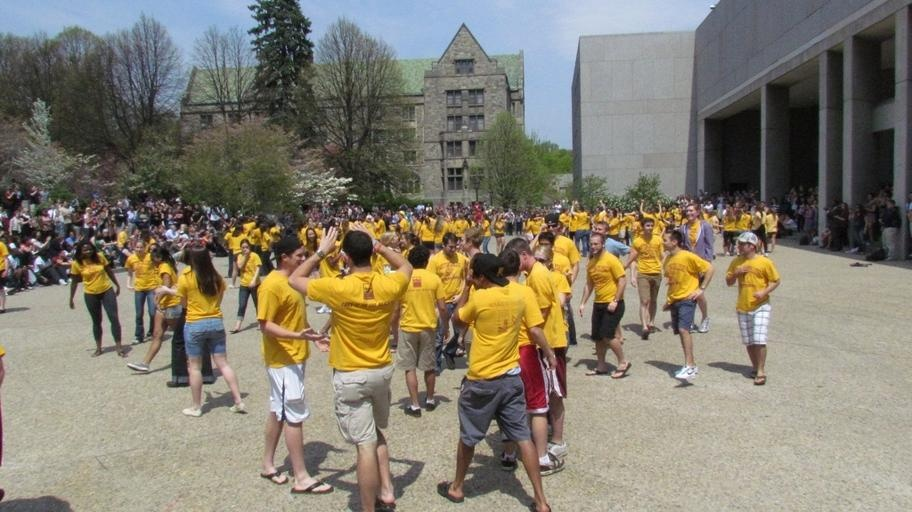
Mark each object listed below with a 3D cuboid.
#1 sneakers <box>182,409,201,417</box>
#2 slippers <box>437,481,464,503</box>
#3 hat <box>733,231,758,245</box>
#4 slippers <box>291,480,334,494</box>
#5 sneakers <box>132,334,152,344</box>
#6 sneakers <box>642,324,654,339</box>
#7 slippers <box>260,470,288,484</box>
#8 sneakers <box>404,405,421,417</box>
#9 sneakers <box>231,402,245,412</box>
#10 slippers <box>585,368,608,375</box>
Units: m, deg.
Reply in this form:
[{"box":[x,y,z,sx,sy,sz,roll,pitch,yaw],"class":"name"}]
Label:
[{"box":[-6.524,3.832,17.510,0.371,0.150,0.209,5,1,6],"class":"sneakers"},{"box":[-0.157,5.164,15.640,0.338,0.245,0.595,-6,25,-39],"class":"slippers"},{"box":[7.461,-0.460,18.079,0.502,0.251,0.358,20,3,6],"class":"hat"},{"box":[-3.183,5.148,15.728,0.668,0.186,0.368,-1,-3,10],"class":"slippers"},{"box":[-9.322,2.443,21.216,0.243,0.274,0.666,-2,0,24],"class":"sneakers"},{"box":[5.506,2.164,20.525,0.235,0.288,0.642,-10,-22,2],"class":"sneakers"},{"box":[-4.087,4.929,15.939,0.533,0.155,0.297,5,6,29],"class":"slippers"},{"box":[-1.096,3.764,17.434,0.425,0.176,0.212,11,12,31],"class":"sneakers"},{"box":[-5.391,3.717,17.548,0.384,0.164,0.177,4,20,33],"class":"sneakers"},{"box":[3.649,3.003,18.546,0.535,0.138,0.210,2,7,6],"class":"slippers"}]
